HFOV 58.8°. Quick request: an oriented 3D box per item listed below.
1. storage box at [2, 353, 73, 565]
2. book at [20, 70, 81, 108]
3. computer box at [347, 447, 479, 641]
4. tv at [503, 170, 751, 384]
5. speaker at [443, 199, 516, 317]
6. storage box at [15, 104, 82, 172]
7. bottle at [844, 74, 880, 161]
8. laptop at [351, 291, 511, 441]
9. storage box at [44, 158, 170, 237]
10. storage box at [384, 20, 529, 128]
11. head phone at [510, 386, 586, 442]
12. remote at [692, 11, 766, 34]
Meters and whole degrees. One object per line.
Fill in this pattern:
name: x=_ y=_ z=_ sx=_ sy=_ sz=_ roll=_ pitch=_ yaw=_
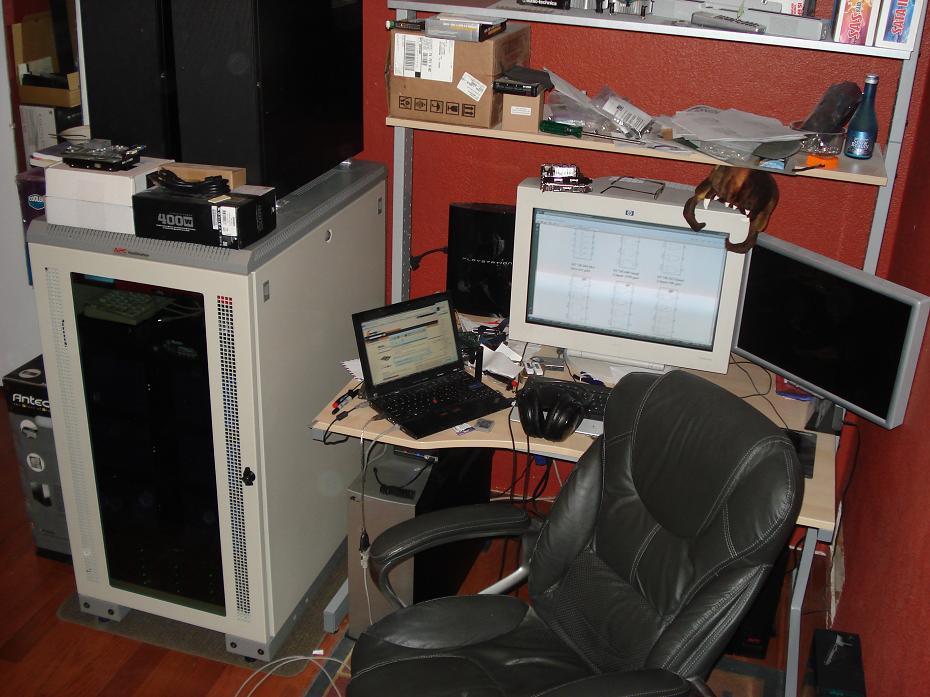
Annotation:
storage box: x=-1.593 y=0.460 z=3.116 sx=0.105 sy=0.735 sz=0.209 roll=-18 pitch=32 yaw=-39
book: x=-1.768 y=-1.103 z=3.544 sx=0.170 sy=0.107 sz=0.169 roll=3 pitch=25 yaw=0
computer box: x=-0.169 y=0.743 z=3.027 sx=0.610 sy=0.733 sz=0.537 roll=-3 pitch=7 yaw=-5
tv: x=0.577 y=-0.292 z=2.952 sx=0.756 sy=0.634 sz=0.429 roll=8 pitch=34 yaw=11
speaker: x=0.068 y=-0.317 z=3.145 sx=0.200 sy=0.345 sz=0.247 roll=-7 pitch=11 yaw=-35
storage box: x=-1.844 y=-0.893 z=3.601 sx=0.203 sy=0.165 sz=0.242 roll=2 pitch=50 yaw=-19
bottle: x=1.264 y=-0.727 z=2.593 sx=0.142 sy=0.251 sz=0.088 roll=-15 pitch=31 yaw=-36
laptop: x=-0.109 y=0.045 z=2.692 sx=0.481 sy=0.264 sz=0.491 roll=-3 pitch=28 yaw=-13
storage box: x=-1.105 y=-0.463 z=2.531 sx=0.320 sy=0.157 sz=0.227 roll=9 pitch=34 yaw=8
storage box: x=-0.001 y=-0.938 z=2.862 sx=0.484 sy=0.255 sz=0.483 roll=6 pitch=21 yaw=4
head phone: x=0.281 y=0.168 z=2.715 sx=0.290 sy=0.141 sz=0.353 roll=-1 pitch=15 yaw=5
remote: x=0.807 y=-1.001 z=2.537 sx=0.183 sy=0.027 sz=0.091 roll=16 pitch=39 yaw=26
